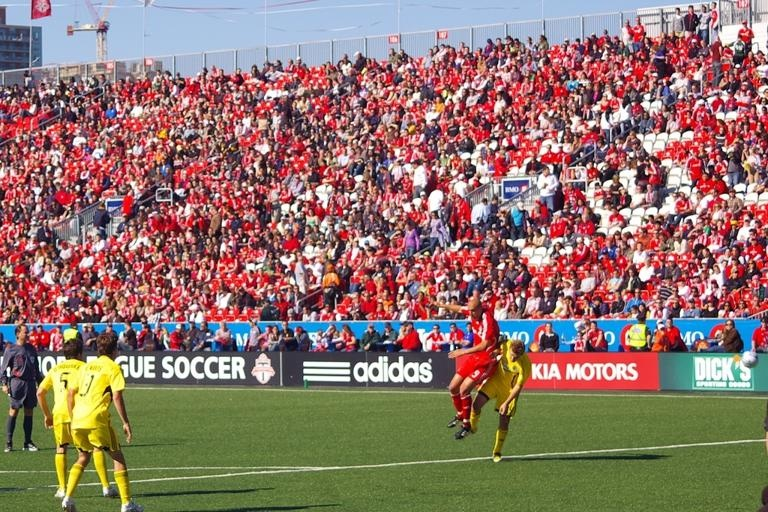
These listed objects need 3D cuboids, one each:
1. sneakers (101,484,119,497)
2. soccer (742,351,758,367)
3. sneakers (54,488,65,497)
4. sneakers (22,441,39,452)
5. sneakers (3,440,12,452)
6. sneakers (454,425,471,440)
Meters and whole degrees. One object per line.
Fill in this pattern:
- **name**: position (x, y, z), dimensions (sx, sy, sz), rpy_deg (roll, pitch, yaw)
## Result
- **sneakers**: position (-7.344, 6.340, 45.452), dimensions (0.269, 0.195, 0.359), rpy_deg (0, 0, 4)
- **soccer**: position (12.273, 3.508, 56.876), dimensions (0.500, 0.708, 0.630), rpy_deg (2, 12, 13)
- **sneakers**: position (-8.706, 6.342, 45.220), dimensions (0.168, 0.252, 0.532), rpy_deg (1, -11, -26)
- **sneakers**: position (-10.439, 5.635, 49.970), dimensions (0.431, 0.241, 0.212), rpy_deg (0, -1, 21)
- **sneakers**: position (-11.085, 5.615, 49.885), dimensions (0.241, 0.274, 0.469), rpy_deg (-3, 13, -12)
- **sneakers**: position (2.265, 5.129, 49.068), dimensions (0.483, 0.259, 0.172), rpy_deg (-44, 40, -4)
